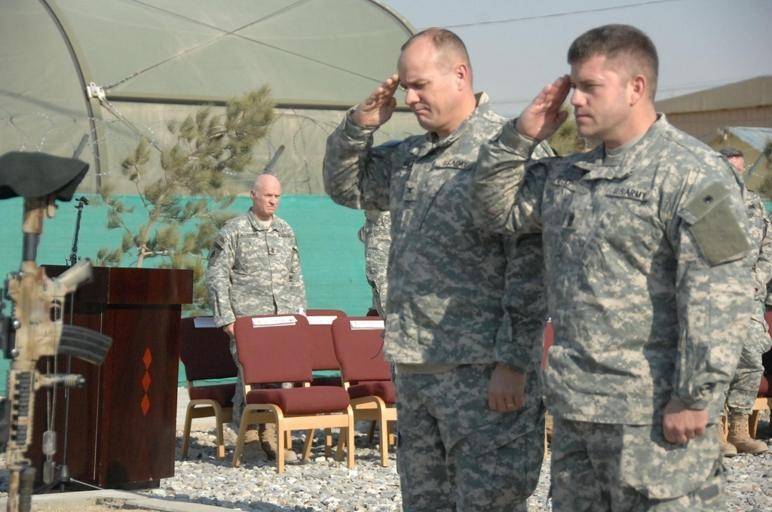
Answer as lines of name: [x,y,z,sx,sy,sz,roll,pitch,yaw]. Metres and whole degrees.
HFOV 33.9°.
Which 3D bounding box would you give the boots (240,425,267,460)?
boots: [-1.365,1.933,13.124,0.203,0.365,0.372,17,-30,-32]
